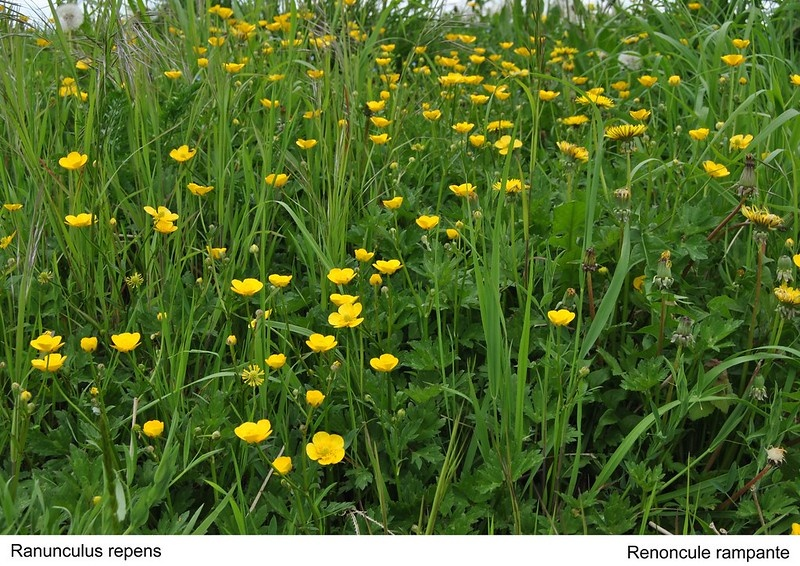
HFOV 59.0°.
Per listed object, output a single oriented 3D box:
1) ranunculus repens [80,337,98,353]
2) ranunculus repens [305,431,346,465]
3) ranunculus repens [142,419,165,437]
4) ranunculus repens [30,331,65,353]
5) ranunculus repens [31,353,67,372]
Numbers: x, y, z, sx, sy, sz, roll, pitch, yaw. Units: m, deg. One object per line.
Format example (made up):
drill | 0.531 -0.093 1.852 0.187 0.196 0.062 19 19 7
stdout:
ranunculus repens | -1.055 0.212 2.398 0.049 0.066 0.050 11 -12 -17
ranunculus repens | -0.225 0.510 2.167 0.100 0.044 0.107 22 56 14
ranunculus repens | -0.761 0.459 2.195 0.051 0.069 0.059 -2 10 -14
ranunculus repens | -1.167 0.199 2.339 0.068 0.037 0.077 4 14 9
ranunculus repens | -1.137 0.263 2.294 0.072 0.035 0.074 -13 28 -29
